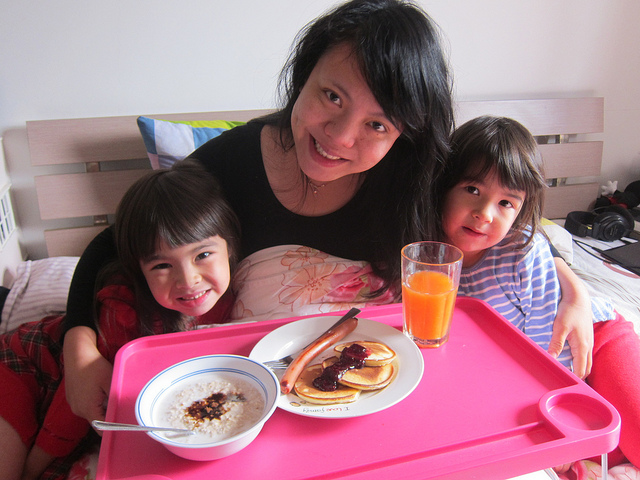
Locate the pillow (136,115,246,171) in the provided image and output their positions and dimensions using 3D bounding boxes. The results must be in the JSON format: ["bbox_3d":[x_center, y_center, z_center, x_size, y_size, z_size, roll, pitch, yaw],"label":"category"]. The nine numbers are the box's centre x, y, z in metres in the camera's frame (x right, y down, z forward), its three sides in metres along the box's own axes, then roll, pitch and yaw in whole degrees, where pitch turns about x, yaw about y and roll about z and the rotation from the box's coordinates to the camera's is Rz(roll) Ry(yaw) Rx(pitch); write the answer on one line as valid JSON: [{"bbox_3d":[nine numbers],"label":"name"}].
[{"bbox_3d":[-0.504,-0.397,1.831,0.377,0.192,0.111,-11,21,-21],"label":"pillow"}]

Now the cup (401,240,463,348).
[{"bbox_3d":[0.272,0.127,1.122,0.144,0.211,0.191,1,20,10],"label":"cup"}]

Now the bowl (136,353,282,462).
[{"bbox_3d":[-0.213,0.331,0.901,0.256,0.104,0.254,3,14,-1],"label":"bowl"}]

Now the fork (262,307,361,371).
[{"bbox_3d":[-0.016,0.236,1.070,0.172,0.026,0.023,-37,25,-22],"label":"fork"}]

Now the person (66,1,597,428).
[{"bbox_3d":[-0.100,0.094,2.010,2.055,1.485,1.132,-1,53,-17],"label":"person"}]

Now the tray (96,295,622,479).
[{"bbox_3d":[0.106,0.323,0.999,0.931,0.134,0.429,-3,20,-2],"label":"tray"}]
